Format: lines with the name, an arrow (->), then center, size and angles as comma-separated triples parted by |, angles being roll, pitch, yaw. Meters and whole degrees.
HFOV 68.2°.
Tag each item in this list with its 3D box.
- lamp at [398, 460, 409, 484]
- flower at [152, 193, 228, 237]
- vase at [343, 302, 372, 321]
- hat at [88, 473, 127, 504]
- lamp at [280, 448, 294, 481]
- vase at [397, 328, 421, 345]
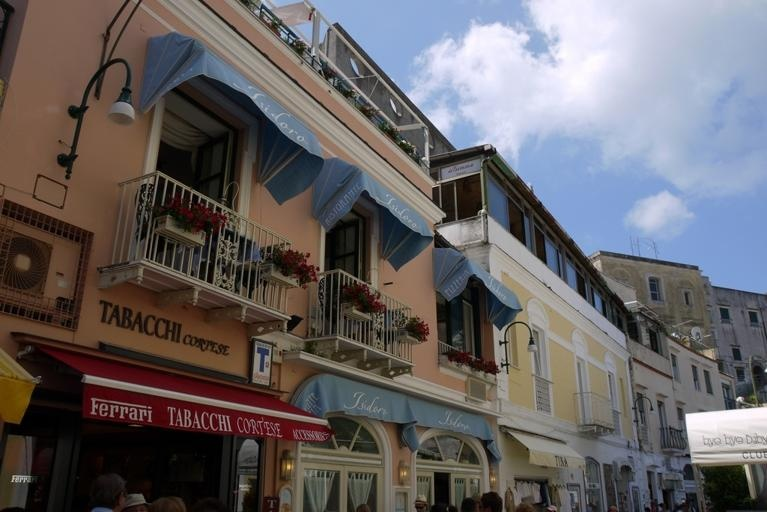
lamp -> 0.437, 4.952, 12.985 | 0.173, 0.609, 0.425 | -17, -24, 41
flower -> -3.094, -0.631, 9.140 | 0.916, 0.483, 0.922 | 22, -3, 2
vase -> -0.592, 1.171, 11.748 | 0.346, 0.228, 0.626 | -23, -35, 33
hat -> -3.144, 2.645, 6.430 | 0.336, 0.376, 0.222 | 12, -31, -24
lamp -> -1.824, 3.878, 10.554 | 0.150, 0.520, 0.308 | -14, -30, 22
vase -> 0.558, 1.871, 13.173 | 0.292, 0.249, 0.540 | -21, -34, 30
